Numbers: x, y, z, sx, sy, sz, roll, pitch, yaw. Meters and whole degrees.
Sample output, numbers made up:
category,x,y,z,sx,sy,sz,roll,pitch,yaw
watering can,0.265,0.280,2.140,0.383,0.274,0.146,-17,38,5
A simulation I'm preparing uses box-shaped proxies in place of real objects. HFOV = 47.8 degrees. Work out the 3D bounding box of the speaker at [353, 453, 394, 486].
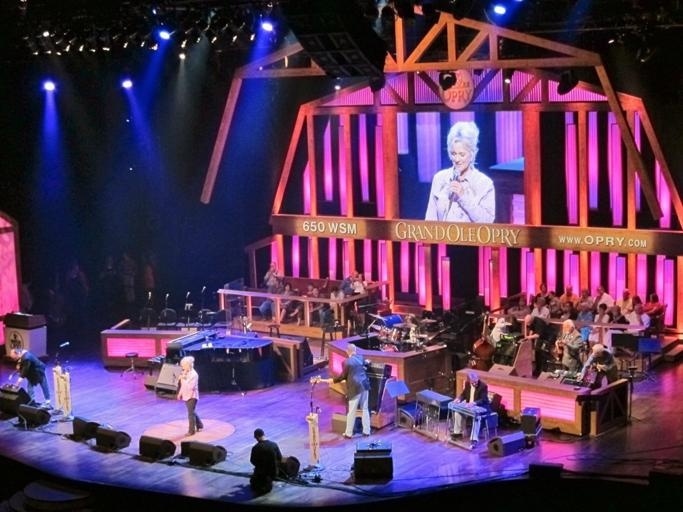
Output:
category,x,y,z,sx,sy,sz,roll,pitch,yaw
speaker,0.540,3.697,13.368,0.794,0.518,0.432,0,-6,-2

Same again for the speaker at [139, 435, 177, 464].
category,x,y,z,sx,sy,sz,roll,pitch,yaw
speaker,-3.481,3.602,14.449,0.612,0.412,0.441,4,8,33

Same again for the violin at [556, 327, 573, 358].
category,x,y,z,sx,sy,sz,roll,pitch,yaw
violin,4.814,1.878,16.788,0.214,0.615,0.443,6,25,-6

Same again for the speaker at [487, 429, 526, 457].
category,x,y,z,sx,sy,sz,roll,pitch,yaw
speaker,3.038,3.347,14.256,0.624,0.383,0.372,-2,6,-36

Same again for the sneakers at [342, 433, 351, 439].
category,x,y,z,sx,sy,sz,roll,pitch,yaw
sneakers,0.089,3.540,15.156,0.123,0.088,0.078,-4,-3,43

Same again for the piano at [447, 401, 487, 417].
category,x,y,z,sx,sy,sz,roll,pitch,yaw
piano,2.406,2.929,14.773,0.730,0.244,0.485,0,0,8

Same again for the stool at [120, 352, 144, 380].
category,x,y,z,sx,sy,sz,roll,pitch,yaw
stool,-5.293,2.710,19.387,0.483,0.691,0.494,3,-1,5

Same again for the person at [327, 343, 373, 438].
category,x,y,z,sx,sy,sz,roll,pitch,yaw
person,0.297,2.666,15.273,0.549,1.800,0.847,1,0,25

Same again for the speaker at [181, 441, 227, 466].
category,x,y,z,sx,sy,sz,roll,pitch,yaw
speaker,-2.591,3.632,14.247,0.727,0.297,0.407,15,9,32

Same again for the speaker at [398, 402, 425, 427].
category,x,y,z,sx,sy,sz,roll,pitch,yaw
speaker,1.404,3.228,15.733,0.455,0.467,0.549,0,0,-25

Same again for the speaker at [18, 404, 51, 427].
category,x,y,z,sx,sy,sz,roll,pitch,yaw
speaker,-6.473,3.291,16.240,0.570,0.417,0.450,3,6,29

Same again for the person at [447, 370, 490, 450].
category,x,y,z,sx,sy,sz,roll,pitch,yaw
person,2.466,2.915,14.942,0.640,1.334,0.825,6,11,31

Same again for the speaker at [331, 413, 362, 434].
category,x,y,z,sx,sy,sz,roll,pitch,yaw
speaker,0.091,3.235,15.445,0.506,0.340,0.371,4,7,44

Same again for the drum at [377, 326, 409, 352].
category,x,y,z,sx,sy,sz,roll,pitch,yaw
drum,1.169,1.863,17.440,0.745,0.520,0.325,0,0,44

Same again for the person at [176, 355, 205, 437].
category,x,y,z,sx,sy,sz,roll,pitch,yaw
person,-3.140,2.792,15.956,0.510,1.585,1.610,0,0,-10

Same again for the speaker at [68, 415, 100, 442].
category,x,y,z,sx,sy,sz,roll,pitch,yaw
speaker,-5.179,3.474,15.483,0.562,0.414,0.432,-7,-9,39

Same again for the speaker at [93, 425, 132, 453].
category,x,y,z,sx,sy,sz,roll,pitch,yaw
speaker,-4.490,3.549,14.891,0.641,0.448,0.417,4,6,33

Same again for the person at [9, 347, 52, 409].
category,x,y,z,sx,sy,sz,roll,pitch,yaw
person,-6.912,2.652,17.093,0.681,1.414,0.555,-8,20,-24

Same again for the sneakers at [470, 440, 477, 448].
category,x,y,z,sx,sy,sz,roll,pitch,yaw
sneakers,2.496,3.529,14.513,0.100,0.130,0.220,0,0,9

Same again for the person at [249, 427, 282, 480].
category,x,y,z,sx,sy,sz,roll,pitch,yaw
person,-1.355,3.547,13.420,0.505,1.040,0.543,-5,2,-41

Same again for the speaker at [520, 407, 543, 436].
category,x,y,z,sx,sy,sz,roll,pitch,yaw
speaker,3.650,3.111,14.784,0.382,0.609,0.637,0,2,20

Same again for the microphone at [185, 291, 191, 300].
category,x,y,z,sx,sy,sz,roll,pitch,yaw
microphone,-4.737,1.224,23.685,0.063,0.222,0.162,13,6,6
